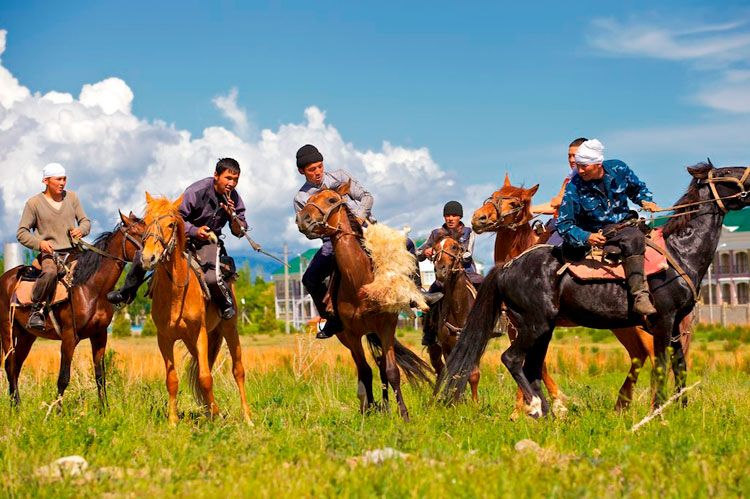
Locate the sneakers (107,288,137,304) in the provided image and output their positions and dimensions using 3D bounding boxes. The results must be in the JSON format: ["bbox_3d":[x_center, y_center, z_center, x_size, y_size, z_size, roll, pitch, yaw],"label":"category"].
[{"bbox_3d":[-4.775,0.865,16.114,0.286,0.253,0.680,-10,-3,9],"label":"sneakers"}]

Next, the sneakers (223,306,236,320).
[{"bbox_3d":[-2.755,1.207,16.074,0.218,0.169,0.220,-9,5,-22],"label":"sneakers"}]

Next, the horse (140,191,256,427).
[{"bbox_3d":[-3.333,1.062,15.464,1.435,4.187,3.189,-5,-2,1],"label":"horse"}]

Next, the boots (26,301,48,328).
[{"bbox_3d":[-6.598,1.305,16.535,0.338,0.553,0.452,-4,-2,-26],"label":"boots"}]
